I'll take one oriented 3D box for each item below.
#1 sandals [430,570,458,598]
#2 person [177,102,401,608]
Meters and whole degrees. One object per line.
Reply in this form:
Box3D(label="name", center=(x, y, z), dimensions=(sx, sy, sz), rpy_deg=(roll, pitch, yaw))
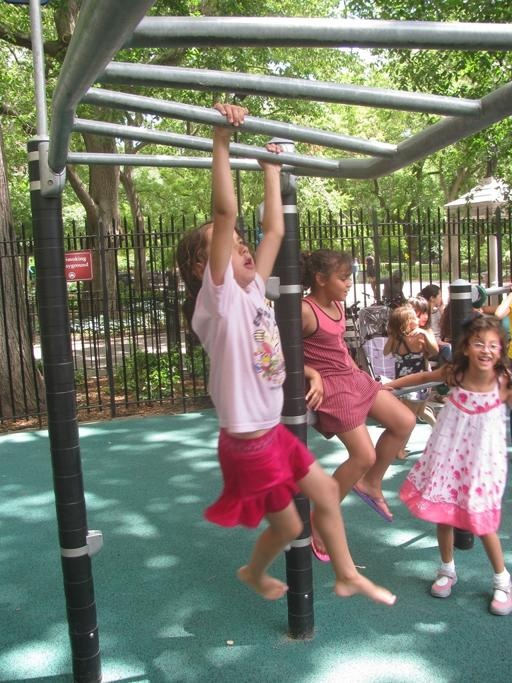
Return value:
Box3D(label="sandals", center=(0.916, 1.191, 2.818), dimensions=(0.072, 0.061, 0.170), rpy_deg=(0, -1, 19))
Box3D(label="person", center=(0.073, 0.181, 1.990), dimensions=(0.487, 1.662, 0.525), rpy_deg=(-6, 5, -23))
